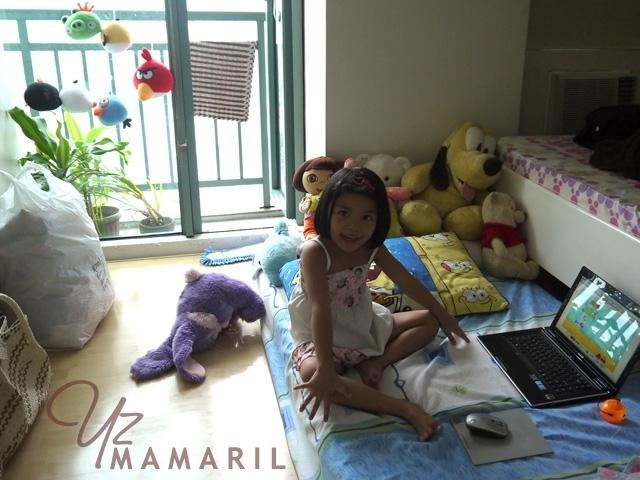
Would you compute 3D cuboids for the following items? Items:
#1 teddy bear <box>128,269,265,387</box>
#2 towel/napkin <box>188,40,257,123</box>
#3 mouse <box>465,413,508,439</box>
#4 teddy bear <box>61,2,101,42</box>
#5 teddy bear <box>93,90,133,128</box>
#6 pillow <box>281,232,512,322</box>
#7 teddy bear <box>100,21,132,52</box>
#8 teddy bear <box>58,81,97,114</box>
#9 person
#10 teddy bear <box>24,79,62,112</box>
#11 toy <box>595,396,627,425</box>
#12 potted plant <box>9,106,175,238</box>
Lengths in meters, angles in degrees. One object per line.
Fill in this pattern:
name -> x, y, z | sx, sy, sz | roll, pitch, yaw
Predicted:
teddy bear -> -0.602, 0.399, 2.167 | 0.397, 0.361, 0.689 | 0, 23, 24
towel/napkin -> -0.713, -1.145, 3.177 | 0.609, 0.548, 0.067 | -17, 33, -37
mouse -> 0.528, 0.588, 1.434 | 0.115, 0.036, 0.068 | 7, 37, 5
teddy bear -> -1.405, -1.283, 2.631 | 0.214, 0.197, 0.154 | -10, 25, -19
teddy bear -> -1.287, -0.789, 2.773 | 0.213, 0.205, 0.100 | -12, 26, -24
pillow -> 0.347, 0.155, 2.230 | 0.943, 0.222, 0.606 | 1, 32, -4
teddy bear -> -1.209, -1.193, 2.657 | 0.160, 0.180, 0.124 | -2, 2, -10
teddy bear -> -1.479, -0.847, 2.726 | 0.192, 0.156, 0.143 | 12, 15, -22
person -> 0.186, 0.174, 1.599 | 0.725, 0.794, 0.613 | -16, 28, -30
teddy bear -> -1.605, -0.874, 2.663 | 0.175, 0.154, 0.151 | 1, 39, 48
toy -> 0.979, 0.565, 1.522 | 0.063, 0.063, 0.081 | -35, -13, 4
potted plant -> -1.371, -0.526, 3.090 | 0.964, 0.865, 0.517 | -3, 47, -10
